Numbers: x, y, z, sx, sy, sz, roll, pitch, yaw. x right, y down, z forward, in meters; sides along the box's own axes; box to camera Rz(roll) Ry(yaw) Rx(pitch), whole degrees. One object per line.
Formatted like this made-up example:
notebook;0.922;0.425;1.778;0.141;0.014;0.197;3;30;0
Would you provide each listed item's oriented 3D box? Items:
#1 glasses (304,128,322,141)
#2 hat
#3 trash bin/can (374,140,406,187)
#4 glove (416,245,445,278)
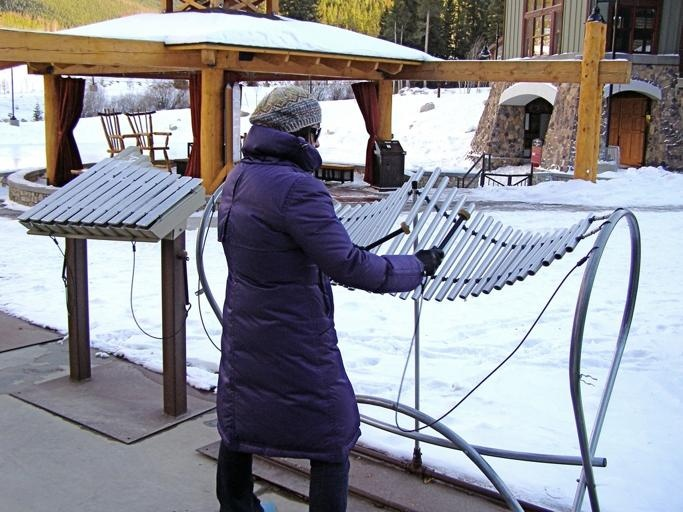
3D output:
glasses;-0.137;-0.591;3.274;0.056;0.066;0.064;18;8;28
hat;-0.255;-0.692;3.264;0.337;0.211;0.252;-7;11;-4
trash bin/can;1.009;-1.939;14.701;0.616;1.006;0.603;-4;10;-17
glove;0.442;0.025;3.386;0.113;0.050;0.149;-1;38;21
